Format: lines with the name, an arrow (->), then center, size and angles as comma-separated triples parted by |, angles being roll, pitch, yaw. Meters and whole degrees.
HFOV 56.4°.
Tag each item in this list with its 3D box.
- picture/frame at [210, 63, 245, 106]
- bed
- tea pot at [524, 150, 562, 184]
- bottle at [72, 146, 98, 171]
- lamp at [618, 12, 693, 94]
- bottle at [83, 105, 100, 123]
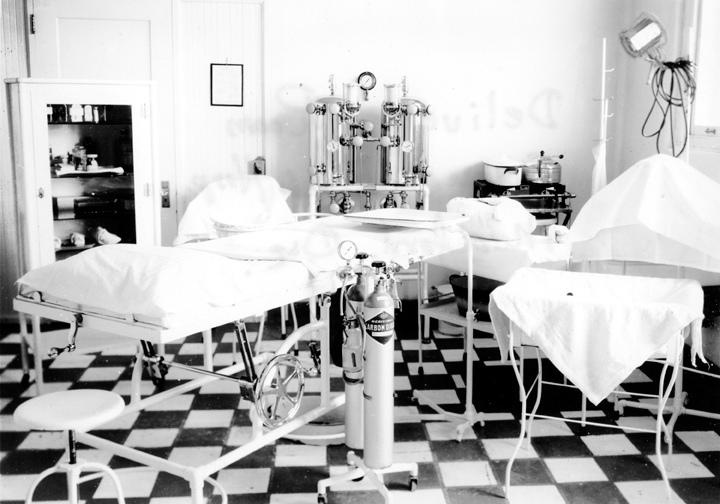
picture/frame -> -1.141, -1.432, 5.707 | 0.353, 0.445, 0.029 | -1, 5, -10
bed -> -0.114, 0.528, 3.595 | 3.668, 1.346, 1.554 | 0, 12, -1
tea pot -> 1.553, -0.716, 5.731 | 0.379, 0.317, 0.275 | 1, 5, -1
bottle -> -2.104, -0.707, 5.106 | 0.218, 0.221, 0.129 | 1, 4, -10
lamp -> 2.264, -1.414, 5.063 | 0.510, 0.615, 0.842 | 7, 14, 31
bottle -> -2.019, -1.028, 5.027 | 0.113, 0.172, 0.114 | 5, 9, -1
